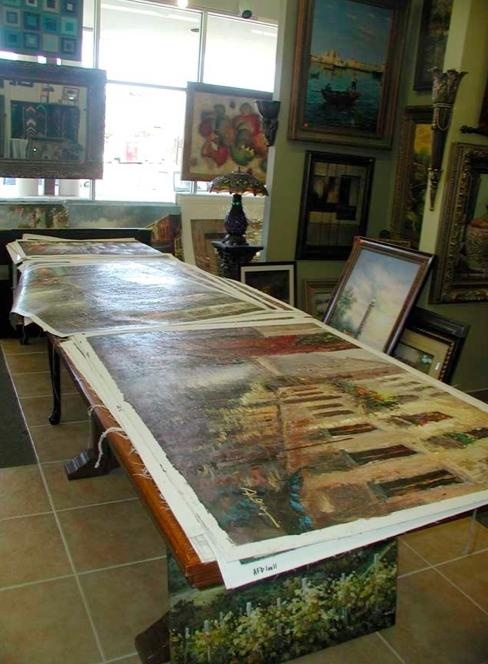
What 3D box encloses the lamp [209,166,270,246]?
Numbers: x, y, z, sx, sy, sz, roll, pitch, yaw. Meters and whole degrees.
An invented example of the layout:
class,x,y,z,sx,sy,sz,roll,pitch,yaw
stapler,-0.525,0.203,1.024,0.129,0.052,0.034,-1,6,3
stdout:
class,x,y,z,sx,sy,sz,roll,pitch,yaw
lamp,-0.070,-0.984,3.979,0.444,0.572,0.532,2,13,-10
